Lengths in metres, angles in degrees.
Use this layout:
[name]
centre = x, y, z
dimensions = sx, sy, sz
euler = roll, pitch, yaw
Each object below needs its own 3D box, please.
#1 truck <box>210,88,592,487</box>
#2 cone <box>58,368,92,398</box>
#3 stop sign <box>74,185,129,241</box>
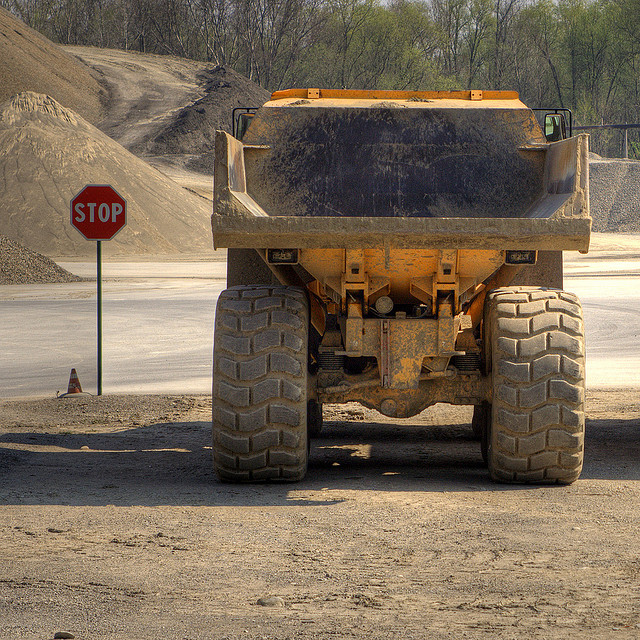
[truck]
centre = 0.604, -0.274, 11.538
dimensions = 2.663, 2.809, 2.067
euler = 1, 3, 0
[cone]
centre = -2.404, 0.622, 15.118
dimensions = 0.244, 0.265, 0.262
euler = -3, 2, 3
[stop sign]
centre = -2.184, -1.043, 15.342
dimensions = 0.553, 0.546, 0.482
euler = 1, 3, -2
